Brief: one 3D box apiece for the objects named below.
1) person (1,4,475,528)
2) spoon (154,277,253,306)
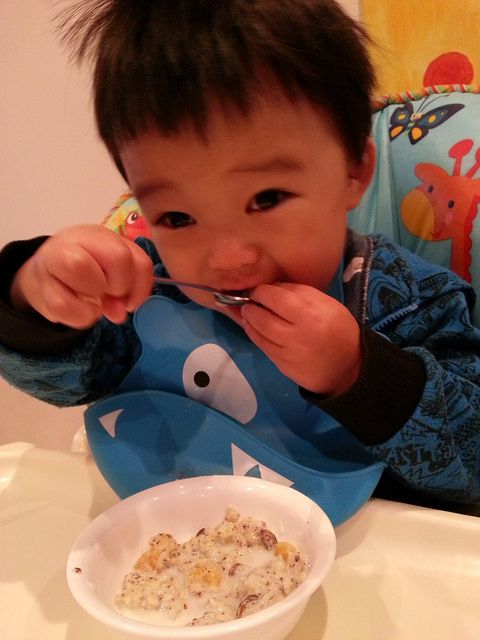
[{"bbox_3d":[0.041,-0.063,0.854,0.631,0.733,0.460,6,35,21],"label":"person"},{"bbox_3d":[-0.044,-0.038,0.785,0.105,0.020,0.014,16,72,-10],"label":"spoon"}]
